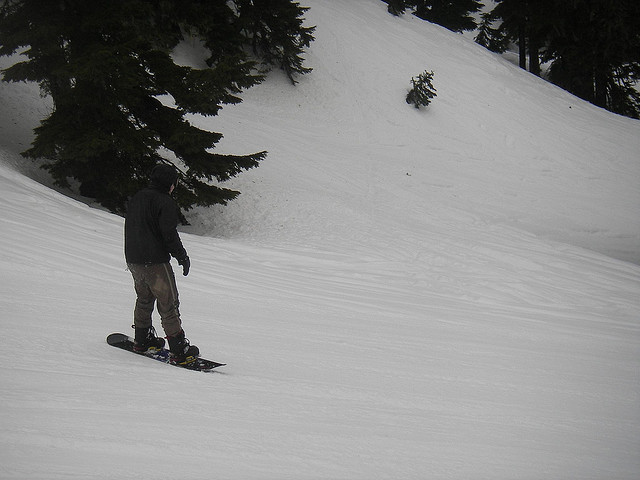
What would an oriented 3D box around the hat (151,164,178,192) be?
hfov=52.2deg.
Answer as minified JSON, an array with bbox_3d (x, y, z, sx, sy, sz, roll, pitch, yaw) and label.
[{"bbox_3d":[-2.239,-0.893,9.380,0.317,0.380,0.418,26,23,29],"label":"hat"}]

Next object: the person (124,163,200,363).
[{"bbox_3d":[-2.311,0.388,9.413,1.346,2.799,0.564,23,19,23],"label":"person"}]
